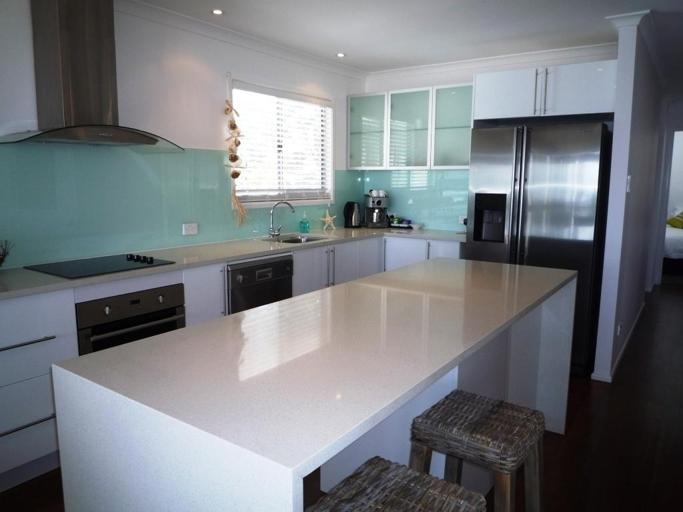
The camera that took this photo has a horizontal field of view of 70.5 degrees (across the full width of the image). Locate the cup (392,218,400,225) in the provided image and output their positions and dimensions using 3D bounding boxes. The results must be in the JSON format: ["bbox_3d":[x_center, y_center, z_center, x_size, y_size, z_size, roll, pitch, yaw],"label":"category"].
[{"bbox_3d":[0.655,-0.418,5.699,0.071,0.043,0.068,-1,18,0],"label":"cup"}]

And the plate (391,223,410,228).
[{"bbox_3d":[0.688,-0.362,5.647,0.262,0.043,0.090,6,14,26],"label":"plate"}]

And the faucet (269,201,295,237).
[{"bbox_3d":[-0.599,-0.389,4.816,0.250,0.360,0.463,-2,13,-5],"label":"faucet"}]

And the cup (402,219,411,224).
[{"bbox_3d":[0.781,-0.408,5.712,0.072,0.053,0.070,3,-5,0],"label":"cup"}]

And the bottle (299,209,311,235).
[{"bbox_3d":[-0.400,-0.355,5.136,0.109,0.213,0.223,-3,13,-7],"label":"bottle"}]

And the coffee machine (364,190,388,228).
[{"bbox_3d":[0.409,-0.549,5.602,0.334,0.568,0.392,-1,4,-7],"label":"coffee machine"}]

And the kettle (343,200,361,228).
[{"bbox_3d":[0.135,-0.497,5.595,0.254,0.394,0.299,1,9,7],"label":"kettle"}]
